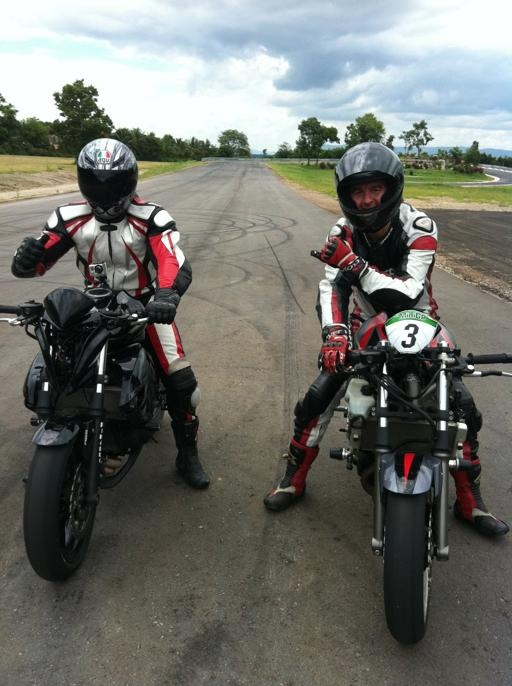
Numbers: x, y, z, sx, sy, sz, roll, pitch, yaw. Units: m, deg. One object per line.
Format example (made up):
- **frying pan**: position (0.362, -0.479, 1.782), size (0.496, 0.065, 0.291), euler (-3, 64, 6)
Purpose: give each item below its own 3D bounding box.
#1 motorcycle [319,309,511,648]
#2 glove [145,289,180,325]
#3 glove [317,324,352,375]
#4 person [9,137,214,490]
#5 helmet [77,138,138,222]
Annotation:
- **motorcycle**: position (0.698, 0.600, 2.348), size (0.665, 1.424, 0.962), euler (3, 14, 7)
- **glove**: position (-0.513, -0.199, 2.720), size (0.151, 0.107, 0.257), euler (-5, 31, 2)
- **glove**: position (0.423, 0.030, 2.659), size (0.163, 0.111, 0.278), euler (-4, 41, 3)
- **person**: position (-0.902, -0.195, 3.398), size (1.469, 2.247, 1.172), euler (8, 18, 24)
- **helmet**: position (-0.944, -1.050, 3.184), size (0.401, 0.531, 0.319), euler (-7, 17, -30)
